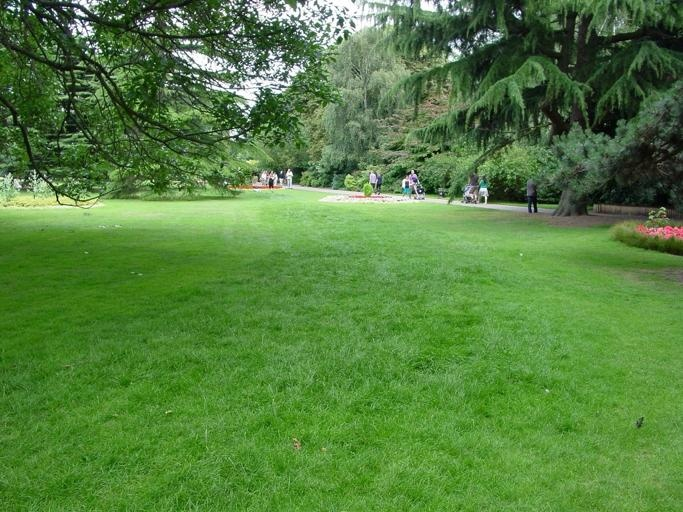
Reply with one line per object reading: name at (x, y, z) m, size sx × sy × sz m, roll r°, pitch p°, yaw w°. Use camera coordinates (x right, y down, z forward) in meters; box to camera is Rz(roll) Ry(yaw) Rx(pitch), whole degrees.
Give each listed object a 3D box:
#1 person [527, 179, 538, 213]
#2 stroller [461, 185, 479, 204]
person at (8.908, -2.776, 23.436) m, size 0.476 × 1.505 × 2.498 m, roll 4°, pitch 12°, yaw 20°
stroller at (7.915, -3.690, 30.640) m, size 1.104 × 1.291 × 1.132 m, roll 0°, pitch -2°, yaw 11°
